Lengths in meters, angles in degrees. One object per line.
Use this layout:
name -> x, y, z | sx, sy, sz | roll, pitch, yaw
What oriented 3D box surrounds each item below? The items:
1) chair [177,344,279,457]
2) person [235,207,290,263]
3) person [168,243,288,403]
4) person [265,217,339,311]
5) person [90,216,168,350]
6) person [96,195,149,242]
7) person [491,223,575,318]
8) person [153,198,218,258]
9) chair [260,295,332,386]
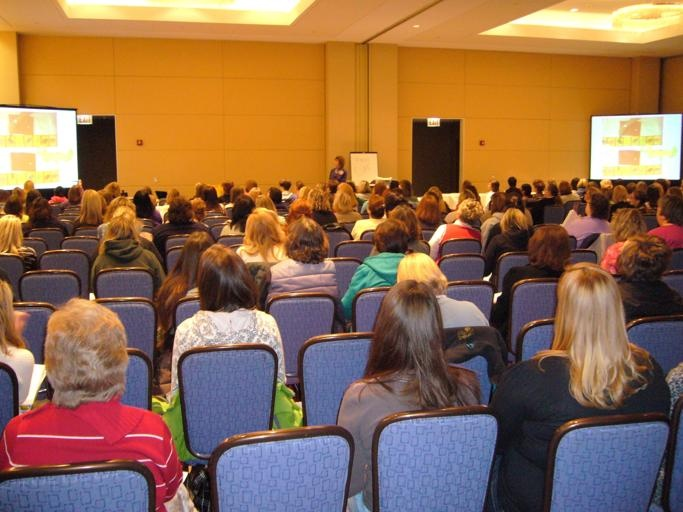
chair -> -0.598, 0.656, 3.303 | 0.474, 0.877, 0.619 | -1, 20, -11
person -> -0.732, -0.219, 5.350 | 0.490, 0.461, 0.754 | -5, 1, 1
person -> -0.675, 0.412, 3.349 | 0.721, 1.000, 0.503 | -3, 22, -11
person -> -0.287, 0.044, 4.517 | 0.645, 1.041, 0.523 | 0, 18, -3
person -> -2.027, 0.146, 5.439 | 0.619, 1.328, 0.605 | -2, 30, -18
person -> -2.763, -0.545, 7.100 | 0.388, 0.571, 0.720 | 5, 19, -27
person -> 1.440, 0.123, 4.415 | 0.447, 1.002, 0.556 | -3, 20, -3
person -> -1.839, -0.352, 6.759 | 0.530, 1.071, 0.647 | -3, 10, -26
chair -> -0.291, 0.498, 4.070 | 0.431, 0.919, 0.540 | -1, 21, -7
